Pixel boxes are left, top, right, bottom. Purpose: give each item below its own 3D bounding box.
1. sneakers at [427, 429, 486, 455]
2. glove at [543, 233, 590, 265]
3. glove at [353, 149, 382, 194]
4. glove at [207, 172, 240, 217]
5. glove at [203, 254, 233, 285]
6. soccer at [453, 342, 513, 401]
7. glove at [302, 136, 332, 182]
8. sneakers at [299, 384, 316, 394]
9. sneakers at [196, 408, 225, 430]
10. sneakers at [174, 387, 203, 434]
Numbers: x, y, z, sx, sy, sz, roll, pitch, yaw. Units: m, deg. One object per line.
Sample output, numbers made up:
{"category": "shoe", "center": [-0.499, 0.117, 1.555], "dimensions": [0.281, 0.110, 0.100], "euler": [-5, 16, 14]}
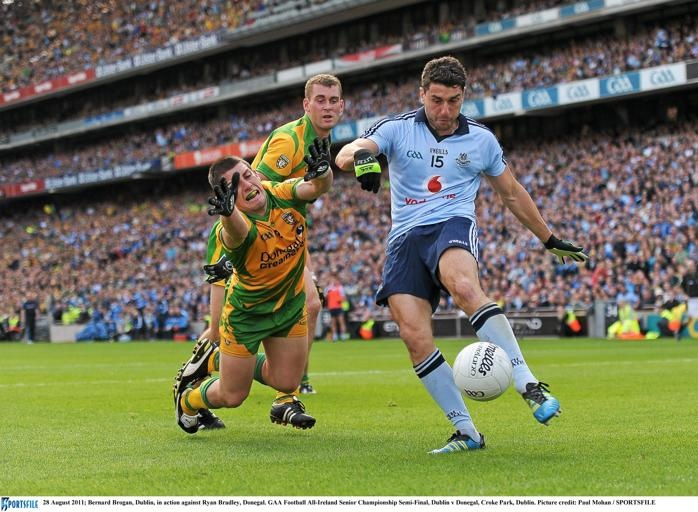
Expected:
{"category": "sneakers", "center": [1.094, 1.821, 10.475], "dimensions": [0.617, 0.238, 0.205], "euler": [0, -9, -14]}
{"category": "glove", "center": [2.297, -0.077, 11.431], "dimensions": [0.420, 0.305, 0.166], "euler": [25, 10, -8]}
{"category": "glove", "center": [0.173, -0.821, 10.438], "dimensions": [0.261, 0.418, 0.482], "euler": [-1, 4, 0]}
{"category": "glove", "center": [-1.212, -0.591, 10.340], "dimensions": [0.172, 0.386, 0.557], "euler": [31, -33, 10]}
{"category": "glove", "center": [-1.459, 0.130, 11.670], "dimensions": [0.369, 0.208, 0.281], "euler": [-11, -39, 31]}
{"category": "soccer", "center": [1.393, 1.166, 10.636], "dimensions": [0.599, 0.593, 0.591], "euler": [-13, 5, -9]}
{"category": "glove", "center": [-0.321, -0.969, 10.701], "dimensions": [0.258, 0.428, 0.272], "euler": [-1, 4, -4]}
{"category": "sneakers", "center": [-0.588, 1.727, 14.006], "dimensions": [0.286, 0.128, 0.098], "euler": [-2, -3, 25]}
{"category": "sneakers", "center": [-1.499, 1.765, 11.495], "dimensions": [0.351, 0.236, 0.135], "euler": [-3, -6, 4]}
{"category": "sneakers", "center": [-1.693, 1.650, 11.308], "dimensions": [0.186, 0.539, 0.229], "euler": [-2, -14, -26]}
